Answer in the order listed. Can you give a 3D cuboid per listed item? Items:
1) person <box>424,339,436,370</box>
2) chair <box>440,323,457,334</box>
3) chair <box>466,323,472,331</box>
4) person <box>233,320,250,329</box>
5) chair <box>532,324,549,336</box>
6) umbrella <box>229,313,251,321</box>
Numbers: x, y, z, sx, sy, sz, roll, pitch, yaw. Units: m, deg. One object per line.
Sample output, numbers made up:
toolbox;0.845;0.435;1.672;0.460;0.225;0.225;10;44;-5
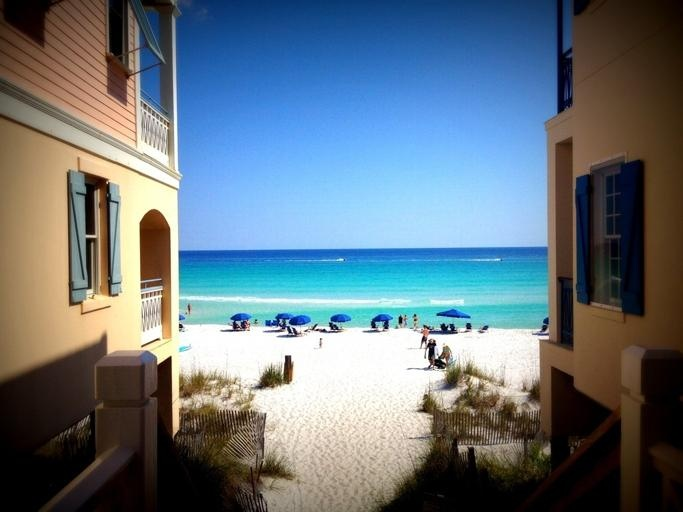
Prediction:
person;4.022;4.357;23.726;0.365;1.115;1.121;-1;-1;11
chair;7.256;4.928;35.965;0.827;0.756;0.811;-1;0;18
chair;8.871;4.946;37.083;0.417;0.740;0.458;0;-4;6
person;-7.125;5.039;38.538;0.808;0.316;0.889;1;2;13
chair;13.263;4.907;35.649;0.767;0.673;2.786;-1;0;12
umbrella;-7.168;4.426;38.225;1.121;0.557;2.062;-1;0;-6
